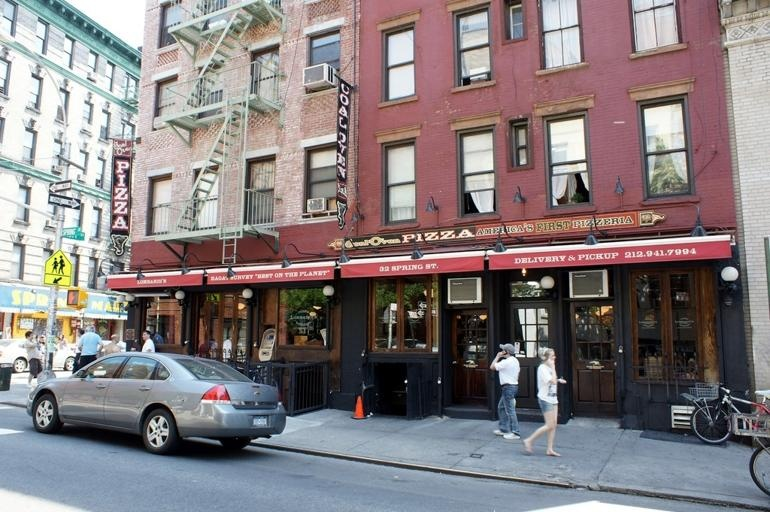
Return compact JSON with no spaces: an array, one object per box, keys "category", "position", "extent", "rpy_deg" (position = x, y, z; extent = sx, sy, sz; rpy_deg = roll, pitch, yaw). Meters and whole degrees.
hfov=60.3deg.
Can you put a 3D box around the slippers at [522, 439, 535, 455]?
[{"category":"slippers","position":[3.477,4.609,16.068],"extent":[0.238,0.400,0.122],"rpy_deg":[-5,-4,40]}]

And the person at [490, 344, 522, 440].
[{"category":"person","position":[3.259,3.557,17.565],"extent":[0.516,2.398,0.845],"rpy_deg":[-1,5,-25]}]

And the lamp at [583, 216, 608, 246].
[{"category":"lamp","position":[5.714,-0.734,18.111],"extent":[0.379,0.785,1.110],"rpy_deg":[3,5,21]}]

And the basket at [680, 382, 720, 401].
[{"category":"basket","position":[8.276,3.571,17.326],"extent":[0.770,0.300,0.506],"rpy_deg":[-22,-3,31]}]

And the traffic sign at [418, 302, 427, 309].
[{"category":"traffic sign","position":[1.154,1.503,20.539],"extent":[0.308,0.234,0.072],"rpy_deg":[4,5,34]}]

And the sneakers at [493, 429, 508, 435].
[{"category":"sneakers","position":[3.054,4.718,17.721],"extent":[0.284,0.118,0.106],"rpy_deg":[4,0,27]}]

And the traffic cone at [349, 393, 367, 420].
[{"category":"traffic cone","position":[-0.911,4.586,19.878],"extent":[0.550,0.710,0.561],"rpy_deg":[2,-12,-4]}]

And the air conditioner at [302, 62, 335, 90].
[{"category":"air conditioner","position":[-2.101,-6.000,22.052],"extent":[1.241,0.739,0.672],"rpy_deg":[4,5,27]}]

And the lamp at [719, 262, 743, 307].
[{"category":"lamp","position":[9.047,0.756,17.346],"extent":[0.552,1.127,0.486],"rpy_deg":[2,5,11]}]

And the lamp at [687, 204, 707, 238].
[{"category":"lamp","position":[8.235,-0.922,17.402],"extent":[0.386,0.770,1.083],"rpy_deg":[3,5,24]}]

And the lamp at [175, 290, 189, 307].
[{"category":"lamp","position":[-7.350,1.493,23.947],"extent":[0.336,0.621,0.406],"rpy_deg":[1,4,-6]}]

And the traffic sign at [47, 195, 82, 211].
[{"category":"traffic sign","position":[-11.069,-1.923,22.975],"extent":[0.825,0.452,1.293],"rpy_deg":[0,4,-19]}]

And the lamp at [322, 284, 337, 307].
[{"category":"lamp","position":[-1.779,1.245,21.331],"extent":[0.390,0.704,0.656],"rpy_deg":[1,4,-5]}]

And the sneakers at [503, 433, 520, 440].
[{"category":"sneakers","position":[3.334,4.727,17.391],"extent":[0.326,0.126,0.168],"rpy_deg":[4,-11,-3]}]

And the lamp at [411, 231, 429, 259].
[{"category":"lamp","position":[0.968,-0.308,19.803],"extent":[0.606,0.993,0.691],"rpy_deg":[-5,-11,9]}]

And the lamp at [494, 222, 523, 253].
[{"category":"lamp","position":[3.423,-0.529,18.859],"extent":[0.581,0.796,1.271],"rpy_deg":[2,4,11]}]

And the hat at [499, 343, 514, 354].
[{"category":"hat","position":[3.228,2.486,17.701],"extent":[0.367,0.187,0.253],"rpy_deg":[17,25,34]}]

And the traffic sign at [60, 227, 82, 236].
[{"category":"traffic sign","position":[-11.543,-0.905,24.404],"extent":[0.822,0.181,0.757],"rpy_deg":[0,-12,-5]}]
